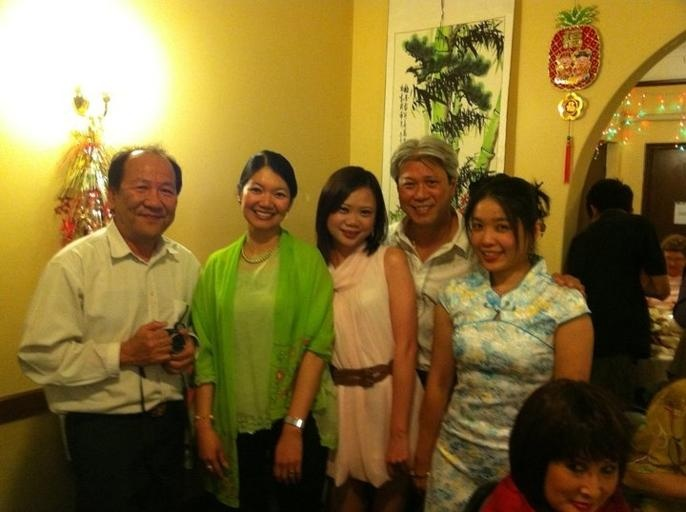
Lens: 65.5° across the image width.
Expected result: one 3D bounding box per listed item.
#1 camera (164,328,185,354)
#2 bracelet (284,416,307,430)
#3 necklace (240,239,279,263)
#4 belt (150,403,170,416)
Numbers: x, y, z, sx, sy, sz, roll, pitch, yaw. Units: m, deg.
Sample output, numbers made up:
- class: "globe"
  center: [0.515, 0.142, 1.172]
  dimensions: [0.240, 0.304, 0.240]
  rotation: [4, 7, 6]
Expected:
- class: "camera"
  center: [-0.711, 0.359, 2.253]
  dimensions: [0.045, 0.096, 0.085]
  rotation: [3, 5, 31]
- class: "bracelet"
  center: [-0.206, 0.720, 2.311]
  dimensions: [0.075, 0.051, 0.076]
  rotation: [35, -29, -34]
- class: "necklace"
  center: [-0.398, -0.007, 2.460]
  dimensions: [0.104, 0.034, 0.109]
  rotation: [-17, 42, -11]
- class: "belt"
  center: [-0.798, 0.663, 2.307]
  dimensions: [0.053, 0.045, 0.044]
  rotation: [10, -20, -19]
